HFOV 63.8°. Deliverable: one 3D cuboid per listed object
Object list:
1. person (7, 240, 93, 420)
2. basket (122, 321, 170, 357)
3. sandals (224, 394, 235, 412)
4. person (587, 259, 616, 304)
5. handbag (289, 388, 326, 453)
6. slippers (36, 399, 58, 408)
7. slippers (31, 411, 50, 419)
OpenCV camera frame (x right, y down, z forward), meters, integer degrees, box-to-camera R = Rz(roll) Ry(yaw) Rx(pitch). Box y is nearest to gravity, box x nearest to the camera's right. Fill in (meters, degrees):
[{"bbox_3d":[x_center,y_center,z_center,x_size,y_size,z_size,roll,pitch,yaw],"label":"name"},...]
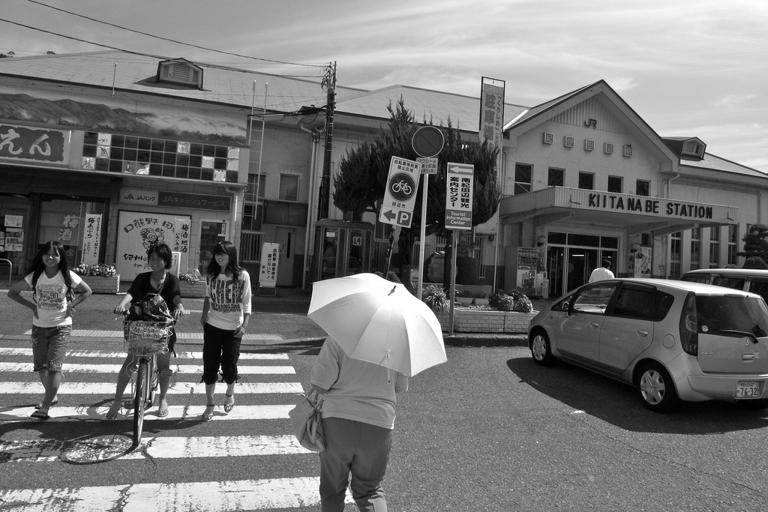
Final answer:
[{"bbox_3d":[-5.105,1.111,9.463,0.955,2.652,0.526,2,1,-19],"label":"person"},{"bbox_3d":[-3.504,1.219,9.260,0.697,0.509,0.546,1,-2,-3],"label":"basket"},{"bbox_3d":[-2.475,2.354,9.909,0.122,0.354,0.142,7,21,-2],"label":"sandals"},{"bbox_3d":[5.414,0.579,15.344,0.885,1.172,0.383,2,-10,26],"label":"person"},{"bbox_3d":[-0.861,1.793,7.168,0.277,0.617,0.593,-1,-36,-11],"label":"handbag"},{"bbox_3d":[-5.239,2.283,9.536,0.147,0.181,0.449,1,-18,-4],"label":"slippers"},{"bbox_3d":[-5.161,2.362,9.281,0.242,0.158,0.153,2,1,-29],"label":"slippers"}]
